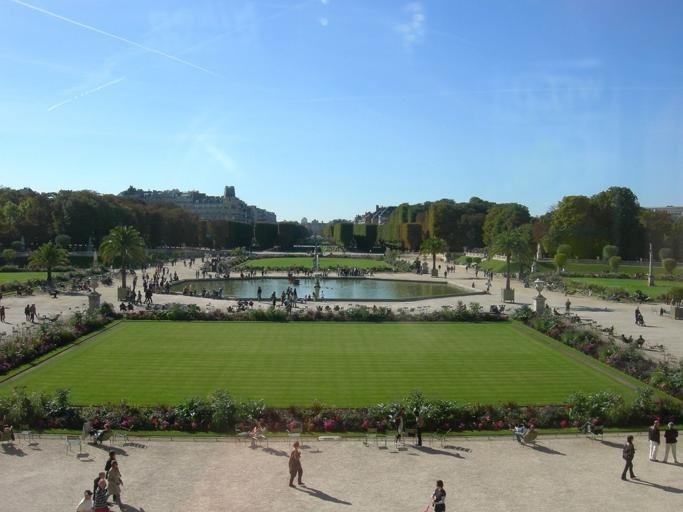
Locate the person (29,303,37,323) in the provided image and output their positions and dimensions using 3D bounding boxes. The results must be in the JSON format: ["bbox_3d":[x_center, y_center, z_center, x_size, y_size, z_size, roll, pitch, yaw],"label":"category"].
[{"bbox_3d":[-19.387,3.691,52.856,0.282,1.000,1.797,-5,15,-18],"label":"person"}]

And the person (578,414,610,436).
[{"bbox_3d":[10.857,7.524,36.636,0.487,0.999,1.634,0,-6,-2],"label":"person"}]

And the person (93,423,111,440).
[{"bbox_3d":[-10.179,7.530,35.641,0.602,0.534,0.782,-2,-1,-41],"label":"person"}]

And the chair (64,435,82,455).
[{"bbox_3d":[-11.130,7.935,35.095,0.698,0.916,0.671,6,-7,-44],"label":"chair"}]

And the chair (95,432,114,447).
[{"bbox_3d":[-10.027,7.713,35.622,0.541,0.750,0.610,8,3,33],"label":"chair"}]

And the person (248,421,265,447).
[{"bbox_3d":[-3.616,7.651,35.960,0.714,1.300,0.719,2,9,1],"label":"person"}]

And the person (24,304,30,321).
[{"bbox_3d":[-19.665,3.636,52.847,0.264,0.931,1.244,-5,15,-20],"label":"person"}]

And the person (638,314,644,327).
[{"bbox_3d":[18.981,4.182,53.517,0.398,0.565,0.872,-2,-4,7],"label":"person"}]

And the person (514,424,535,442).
[{"bbox_3d":[7.777,7.637,35.995,0.675,0.788,0.855,2,-1,3],"label":"person"}]

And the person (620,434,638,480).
[{"bbox_3d":[11.417,7.947,33.530,0.535,1.696,1.165,4,14,18],"label":"person"}]

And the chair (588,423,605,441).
[{"bbox_3d":[10.929,7.638,36.291,0.572,0.765,0.719,1,-5,-15],"label":"chair"}]

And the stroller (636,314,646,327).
[{"bbox_3d":[18.952,4.148,53.640,0.412,0.622,1.038,-2,-4,10],"label":"stroller"}]

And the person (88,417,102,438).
[{"bbox_3d":[-10.682,7.452,36.325,0.540,0.753,0.571,-1,3,-41],"label":"person"}]

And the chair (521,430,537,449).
[{"bbox_3d":[7.918,7.786,35.785,0.593,1.006,0.666,0,10,2],"label":"chair"}]

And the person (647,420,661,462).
[{"bbox_3d":[12.797,7.483,34.660,0.436,1.706,0.905,5,14,19],"label":"person"}]
